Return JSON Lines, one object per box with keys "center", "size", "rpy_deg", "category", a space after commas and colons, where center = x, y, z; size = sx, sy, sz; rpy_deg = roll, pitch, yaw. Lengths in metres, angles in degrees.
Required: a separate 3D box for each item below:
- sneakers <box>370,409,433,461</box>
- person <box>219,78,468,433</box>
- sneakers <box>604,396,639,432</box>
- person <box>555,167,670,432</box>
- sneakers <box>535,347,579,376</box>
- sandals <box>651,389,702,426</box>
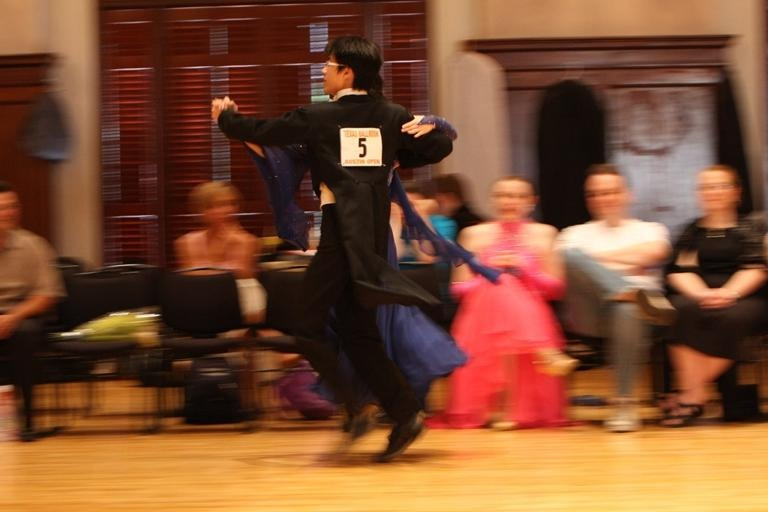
{"center": [0.093, 0.924, 4.466], "size": [0.386, 0.160, 0.127], "rpy_deg": [-36, 9, 20], "category": "sneakers"}
{"center": [-0.182, -0.023, 4.503], "size": [1.146, 1.762, 0.351], "rpy_deg": [-3, 0, 5], "category": "person"}
{"center": [1.408, 0.920, 5.047], "size": [0.226, 0.190, 0.200], "rpy_deg": [-3, 0, 1], "category": "sneakers"}
{"center": [1.390, 0.231, 5.131], "size": [0.658, 1.556, 0.363], "rpy_deg": [-3, 0, 8], "category": "person"}
{"center": [1.027, 0.636, 5.084], "size": [0.190, 0.172, 0.180], "rpy_deg": [-3, 0, -26], "category": "sneakers"}
{"center": [1.751, 0.911, 5.131], "size": [0.267, 0.196, 0.197], "rpy_deg": [-2, 0, 25], "category": "sandals"}
